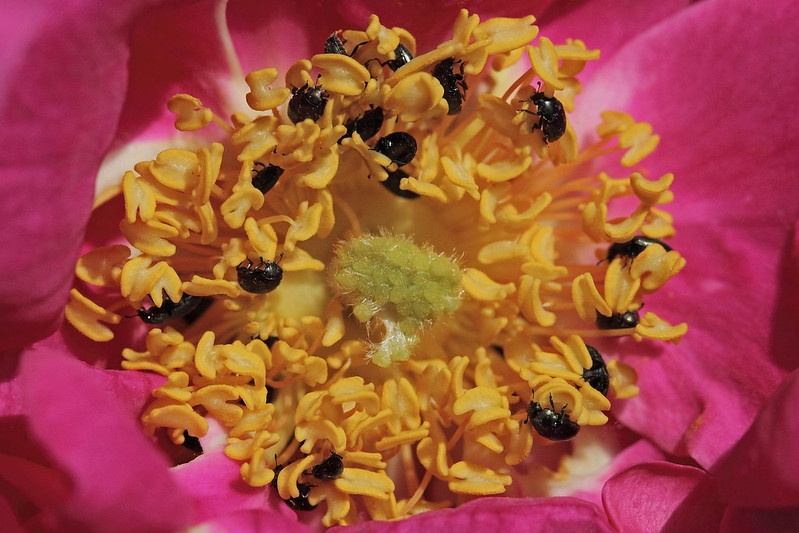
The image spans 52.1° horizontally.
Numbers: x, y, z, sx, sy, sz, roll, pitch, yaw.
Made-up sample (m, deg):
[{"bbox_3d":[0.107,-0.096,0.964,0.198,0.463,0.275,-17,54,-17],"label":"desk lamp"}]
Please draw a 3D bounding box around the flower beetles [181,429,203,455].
[{"bbox_3d":[-0.300,0.257,1.183,0.042,0.020,0.025,26,80,2],"label":"flower beetles"}]

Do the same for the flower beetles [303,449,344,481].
[{"bbox_3d":[-0.104,0.291,1.184,0.043,0.043,0.013,-36,26,9],"label":"flower beetles"}]

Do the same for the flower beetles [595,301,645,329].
[{"bbox_3d":[0.349,0.080,1.292,0.060,0.045,0.022,-7,86,-11],"label":"flower beetles"}]

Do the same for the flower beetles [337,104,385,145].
[{"bbox_3d":[-0.057,-0.215,1.243,0.070,0.017,0.044,-35,69,-5],"label":"flower beetles"}]
